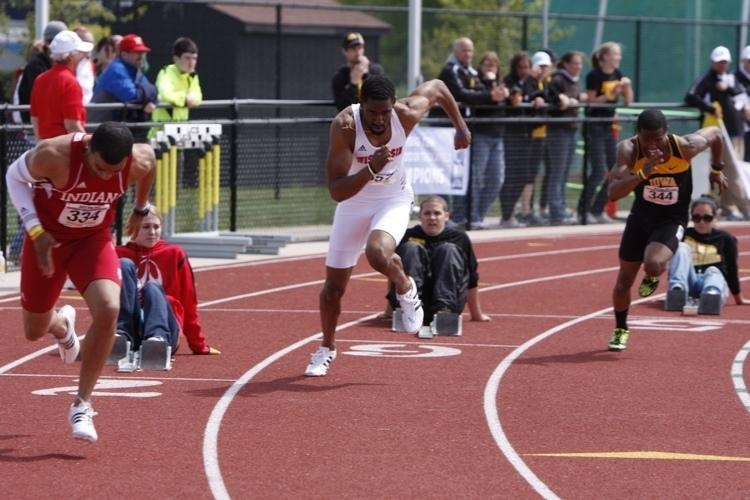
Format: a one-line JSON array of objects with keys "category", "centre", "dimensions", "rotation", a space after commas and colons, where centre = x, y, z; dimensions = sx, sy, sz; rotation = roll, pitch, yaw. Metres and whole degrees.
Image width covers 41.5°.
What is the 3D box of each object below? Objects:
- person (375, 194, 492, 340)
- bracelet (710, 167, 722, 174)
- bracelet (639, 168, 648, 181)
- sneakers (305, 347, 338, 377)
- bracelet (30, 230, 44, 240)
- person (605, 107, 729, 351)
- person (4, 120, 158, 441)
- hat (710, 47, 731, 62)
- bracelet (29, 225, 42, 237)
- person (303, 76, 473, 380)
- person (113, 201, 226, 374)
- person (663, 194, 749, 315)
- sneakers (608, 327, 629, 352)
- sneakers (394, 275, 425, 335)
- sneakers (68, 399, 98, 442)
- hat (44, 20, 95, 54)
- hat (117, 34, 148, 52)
[{"category": "person", "centre": [0.583, 0.142, 10.332], "dimensions": [1.227, 1.528, 1.165], "rotation": [-2, -18, 6]}, {"category": "bracelet", "centre": [3.369, -0.785, 9.753], "dimensions": [0.086, 0.060, 0.086], "rotation": [4, 7, 15]}, {"category": "bracelet", "centre": [2.393, -0.677, 8.822], "dimensions": [0.078, 0.100, 0.153], "rotation": [4, 11, 15]}, {"category": "sneakers", "centre": [-0.489, 0.970, 8.607], "dimensions": [0.148, 0.150, 0.408], "rotation": [7, 15, 19]}, {"category": "bracelet", "centre": [-2.391, -0.111, 6.943], "dimensions": [0.133, 0.074, 0.055], "rotation": [4, 11, 17]}, {"category": "person", "centre": [2.619, -0.174, 9.316], "dimensions": [0.629, 2.291, 1.082], "rotation": [8, 13, 35]}, {"category": "person", "centre": [-2.089, 0.198, 7.212], "dimensions": [0.929, 2.263, 1.157], "rotation": [-6, 13, -34]}, {"category": "hat", "centre": [5.950, -3.325, 16.986], "dimensions": [0.331, 0.244, 0.497], "rotation": [-1, 12, 13]}, {"category": "bracelet", "centre": [-2.394, -0.133, 6.936], "dimensions": [0.084, 0.060, 0.084], "rotation": [2, -5, -42]}, {"category": "person", "centre": [0.068, -0.201, 8.588], "dimensions": [0.804, 2.573, 1.301], "rotation": [10, 14, 39]}, {"category": "person", "centre": [-2.118, 0.292, 8.848], "dimensions": [1.150, 1.396, 1.163], "rotation": [-2, -5, 3]}, {"category": "person", "centre": [3.683, 0.150, 11.078], "dimensions": [0.962, 0.922, 1.438], "rotation": [2, 2, 22]}, {"category": "sneakers", "centre": [2.319, 0.857, 9.424], "dimensions": [0.118, 0.127, 0.311], "rotation": [5, 11, 21]}, {"category": "sneakers", "centre": [0.253, 0.501, 8.622], "dimensions": [0.210, 0.515, 0.228], "rotation": [-12, 4, 28]}, {"category": "sneakers", "centre": [-2.043, 1.196, 6.864], "dimensions": [0.165, 0.305, 0.195], "rotation": [-3, 11, -18]}, {"category": "hat", "centre": [-3.254, -2.241, 10.552], "dimensions": [0.438, 0.205, 0.267], "rotation": [-4, 28, -20]}, {"category": "hat", "centre": [-3.251, -2.684, 12.948], "dimensions": [0.472, 0.241, 0.335], "rotation": [4, 15, 15]}]
